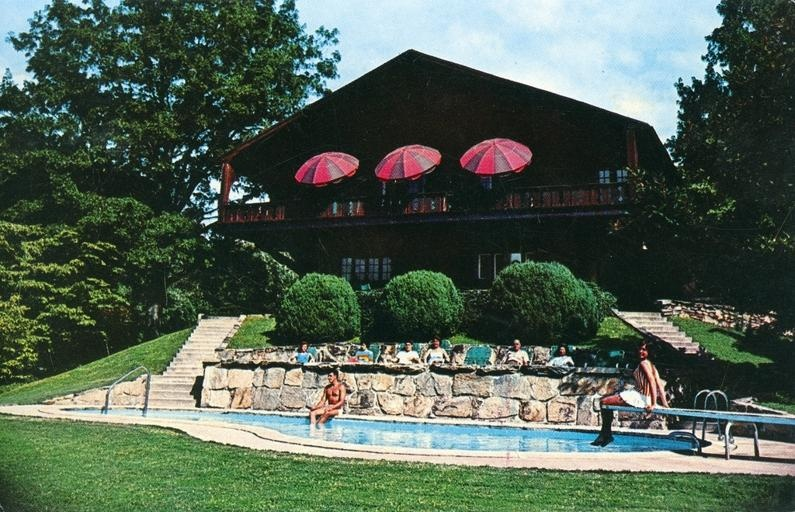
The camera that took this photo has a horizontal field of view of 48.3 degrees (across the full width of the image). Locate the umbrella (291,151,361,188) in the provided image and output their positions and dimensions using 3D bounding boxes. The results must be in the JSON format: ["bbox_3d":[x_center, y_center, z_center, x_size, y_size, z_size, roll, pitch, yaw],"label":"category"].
[{"bbox_3d":[-4.035,-5.342,50.763,5.417,2.418,2.577,-3,-3,-9],"label":"umbrella"}]
